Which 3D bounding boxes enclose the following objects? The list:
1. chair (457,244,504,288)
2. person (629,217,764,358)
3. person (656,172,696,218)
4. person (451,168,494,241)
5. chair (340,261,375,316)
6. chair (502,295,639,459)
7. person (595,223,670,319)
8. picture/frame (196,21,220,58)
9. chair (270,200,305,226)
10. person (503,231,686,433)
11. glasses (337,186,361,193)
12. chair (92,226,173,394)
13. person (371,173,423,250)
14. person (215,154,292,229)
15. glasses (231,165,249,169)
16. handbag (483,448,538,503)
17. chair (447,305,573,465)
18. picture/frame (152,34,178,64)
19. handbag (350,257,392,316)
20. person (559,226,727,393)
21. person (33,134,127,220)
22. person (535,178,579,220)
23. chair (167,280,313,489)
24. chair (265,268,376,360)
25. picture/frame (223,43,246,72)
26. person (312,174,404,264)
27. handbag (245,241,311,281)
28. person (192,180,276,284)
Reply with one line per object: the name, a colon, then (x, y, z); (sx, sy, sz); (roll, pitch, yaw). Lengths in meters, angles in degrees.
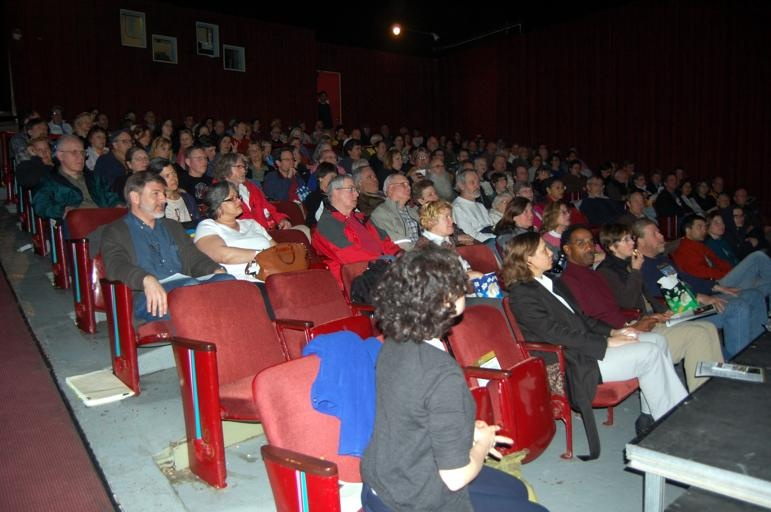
chair: (0.863, 0.015, 4.591); (0.325, 0.302, 0.248); (-12, 9, -35)
person: (2.658, 0.180, 4.896); (1.015, 1.229, 1.364); (-15, 13, -38)
person: (4.622, -0.972, 8.429); (0.500, 0.641, 0.726); (9, 15, 37)
person: (1.055, -0.579, 6.084); (0.569, 0.832, 0.553); (-2, -1, -45)
chair: (-0.274, 0.174, 4.116); (0.290, 0.378, 0.275); (8, 12, -10)
chair: (1.174, 0.654, 3.751); (0.963, 1.291, 0.930); (0, 4, 44)
person: (2.006, 0.147, 4.289); (0.370, 0.998, 0.391); (-20, 7, 42)
picture/frame: (-3.906, -4.801, 11.592); (0.557, 0.637, 0.031); (12, 23, 15)
chair: (-1.011, -0.477, 5.647); (0.287, 0.350, 0.276); (5, 10, 35)
person: (1.465, 0.502, 3.580); (1.129, 1.405, 0.614); (-7, 19, 29)
glasses: (-0.334, -0.591, 4.686); (0.193, 0.053, 0.194); (1, 1, -41)
chair: (-1.608, 0.355, 3.567); (0.508, 0.678, 0.497); (5, 14, 42)
person: (0.110, -0.407, 5.114); (0.479, 0.688, 0.861); (1, 7, 20)
person: (-1.260, -0.569, 5.006); (0.718, 0.780, 0.646); (1, 18, 0)
glasses: (-1.356, -0.835, 4.933); (0.046, 0.052, 0.154); (7, 13, 28)
handbag: (0.596, 1.034, 2.626); (0.079, 0.247, 0.317); (-4, 12, 35)
chair: (0.704, 0.779, 3.114); (0.599, 0.879, 0.677); (-2, 4, 43)
picture/frame: (-4.646, -4.381, 11.053); (0.643, 0.632, 0.046); (-6, 10, -43)
handbag: (-0.141, 0.193, 3.835); (0.320, 0.381, 0.137); (4, -11, 16)
person: (1.844, 0.607, 4.346); (1.244, 1.536, 0.679); (8, 3, -8)
person: (-2.970, -0.719, 5.059); (0.526, 0.826, 0.866); (10, 4, 1)
person: (2.154, -0.732, 6.815); (0.316, 0.507, 0.724); (-10, -8, 17)
chair: (-0.756, 0.715, 3.112); (0.804, 1.010, 0.878); (-10, 12, -44)
chair: (-0.501, 0.327, 3.498); (0.577, 0.747, 0.627); (-7, -6, -44)
picture/frame: (-3.460, -4.520, 12.098); (0.506, 0.560, 0.507); (7, 9, 42)
person: (-0.244, -0.269, 4.652); (0.778, 0.854, 0.596); (8, 19, 33)
handbag: (-0.789, -0.006, 4.093); (0.471, 0.250, 0.337); (-11, -18, -18)
person: (-1.228, -0.206, 4.301); (0.452, 0.779, 0.577); (14, 20, 36)
